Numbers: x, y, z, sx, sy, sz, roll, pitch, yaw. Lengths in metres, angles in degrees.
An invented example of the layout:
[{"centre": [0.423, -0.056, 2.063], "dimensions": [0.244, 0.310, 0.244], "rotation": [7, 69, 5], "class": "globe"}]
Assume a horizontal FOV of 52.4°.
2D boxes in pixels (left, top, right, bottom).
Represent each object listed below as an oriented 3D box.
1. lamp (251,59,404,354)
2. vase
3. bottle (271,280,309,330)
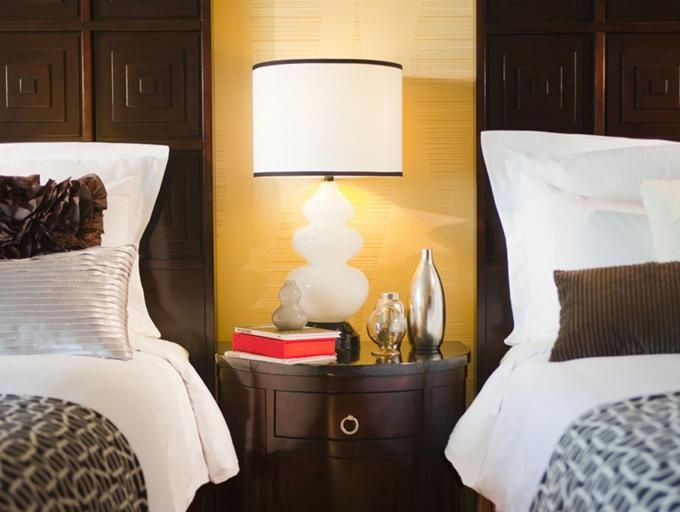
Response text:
[{"centre": [-0.044, -0.181, 2.546], "dimensions": [0.519, 1.048, 0.304], "rotation": [-1, 6, -21], "class": "lamp"}, {"centre": [0.315, 0.169, 2.496], "dimensions": [0.131, 0.368, 0.112], "rotation": [2, 6, 6], "class": "vase"}, {"centre": [-0.159, 0.175, 2.450], "dimensions": [0.107, 0.169, 0.168], "rotation": [4, 6, 23], "class": "bottle"}]
